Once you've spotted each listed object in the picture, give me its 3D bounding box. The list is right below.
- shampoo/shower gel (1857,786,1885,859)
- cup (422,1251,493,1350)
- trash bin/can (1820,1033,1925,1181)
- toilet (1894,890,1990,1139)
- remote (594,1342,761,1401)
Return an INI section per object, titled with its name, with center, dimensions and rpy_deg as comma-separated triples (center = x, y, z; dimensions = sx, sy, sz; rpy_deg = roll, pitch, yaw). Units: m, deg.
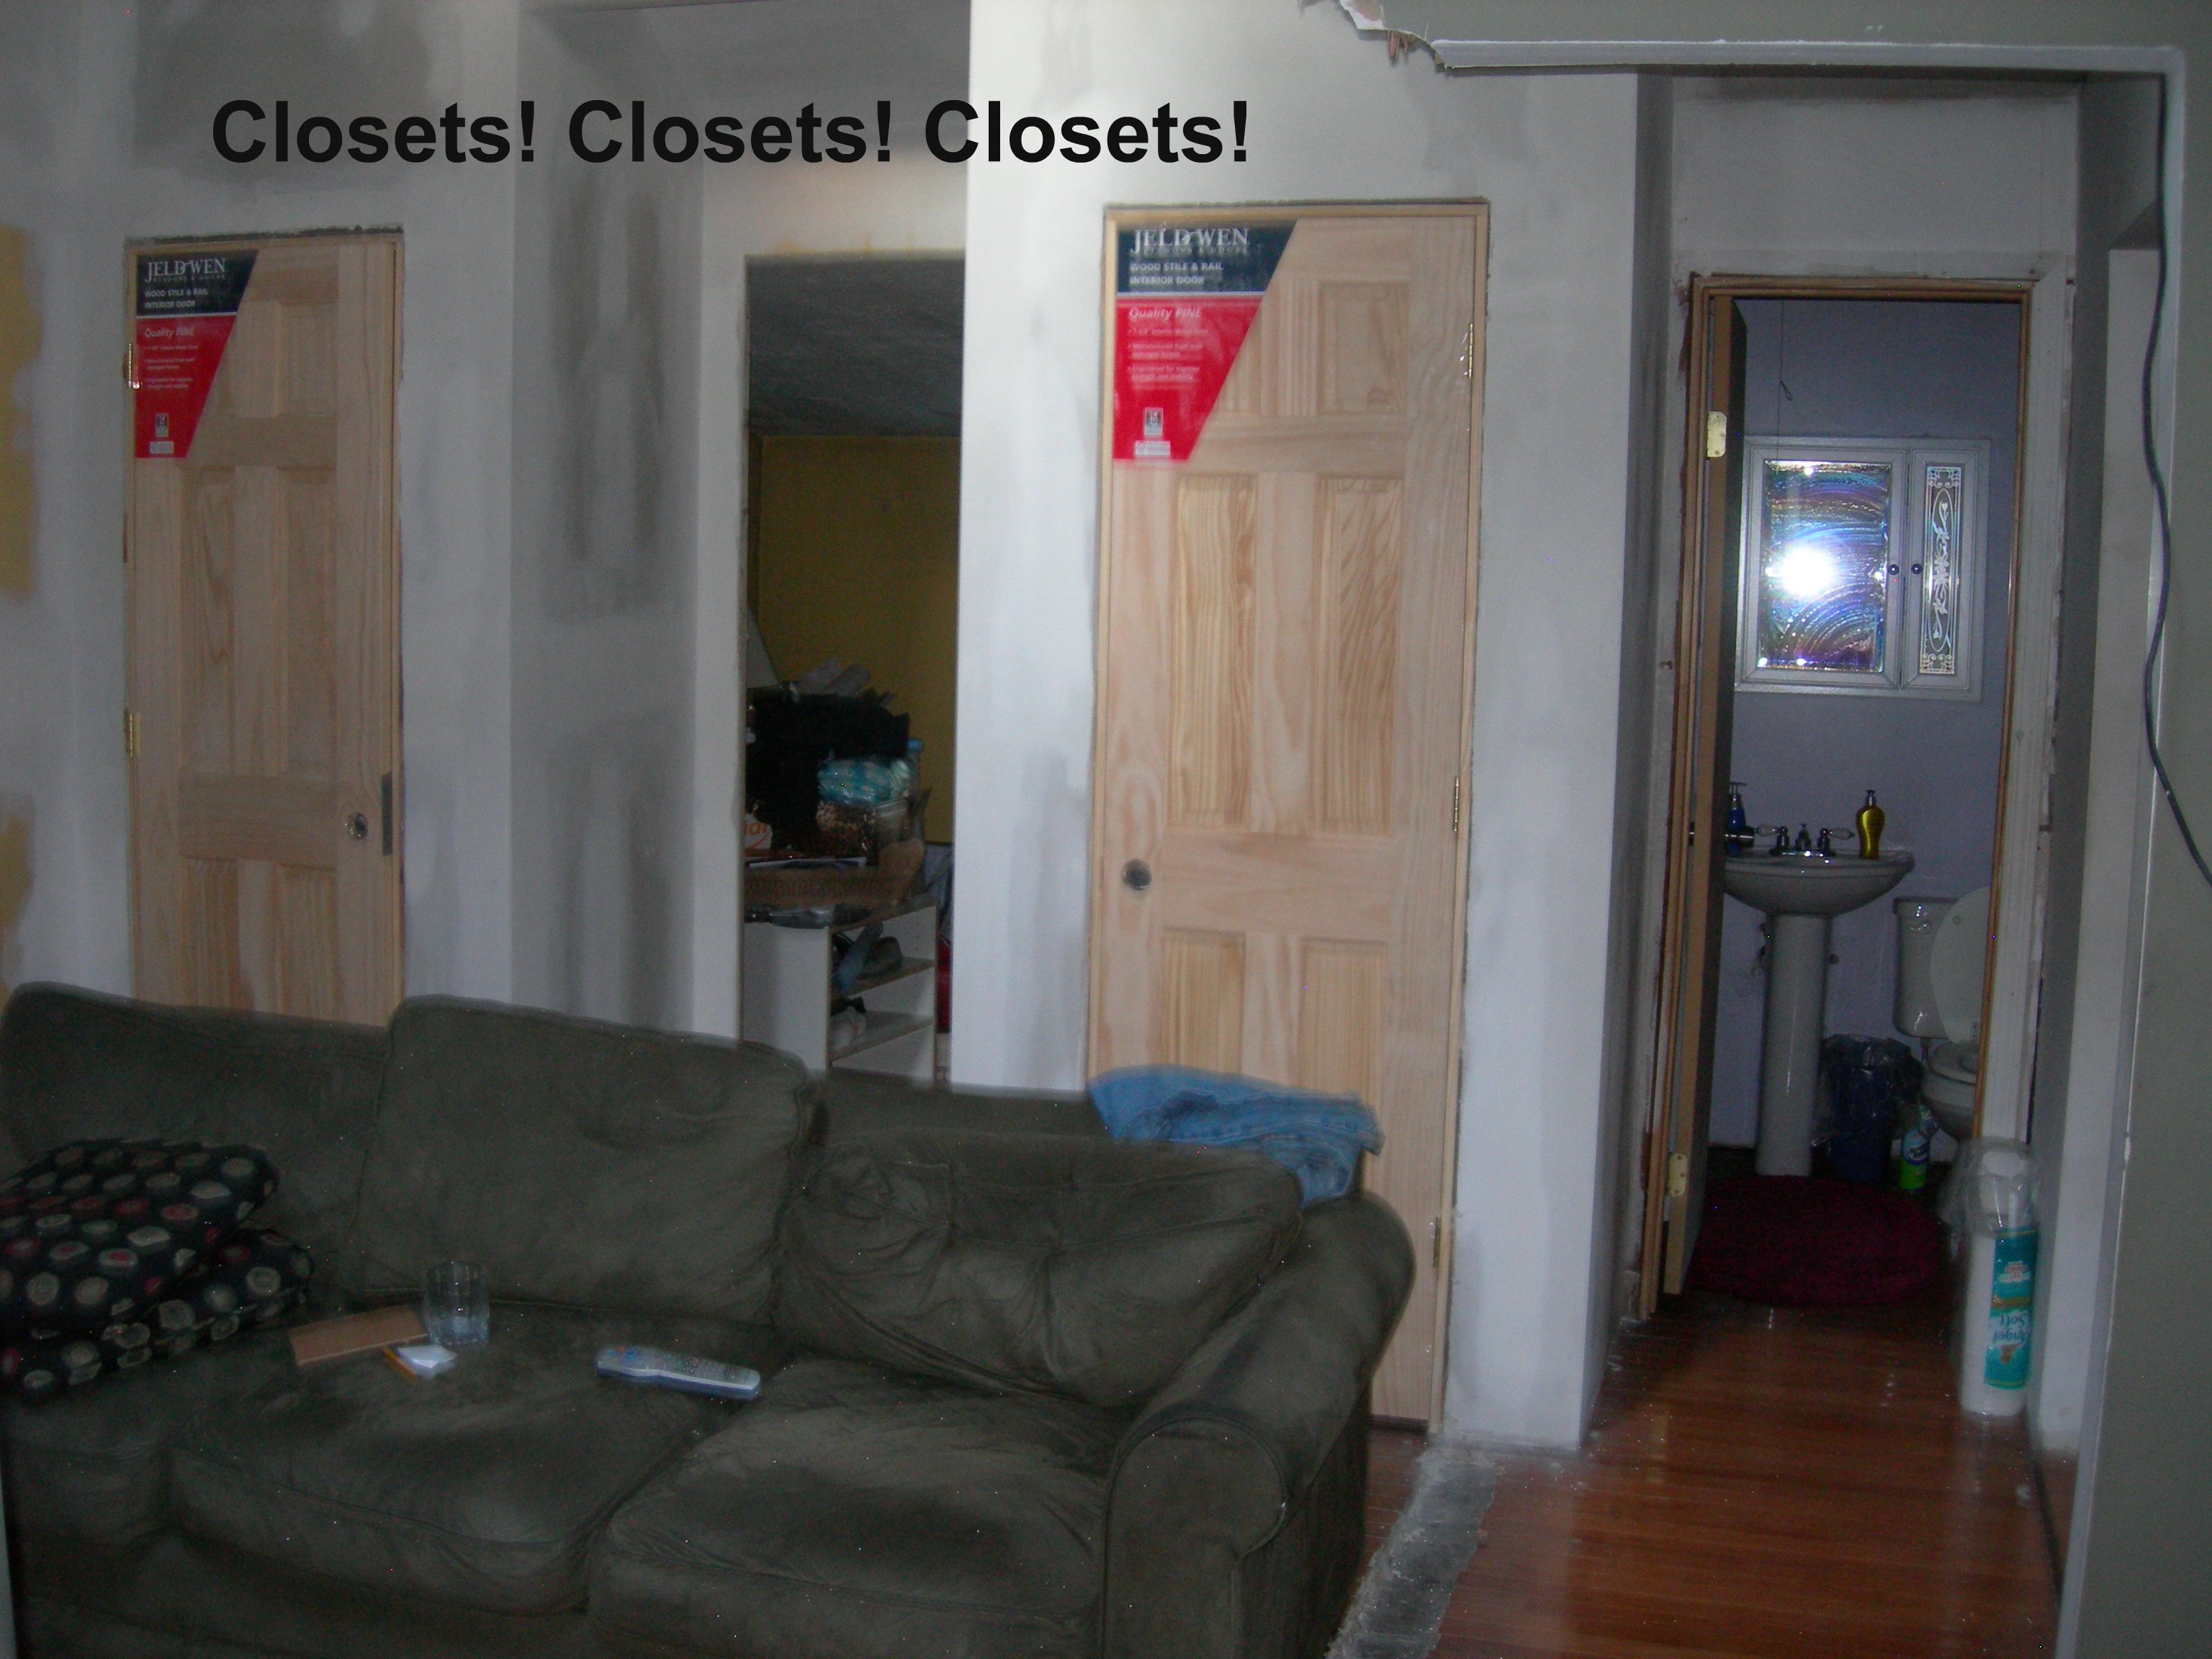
[shampoo/shower gel]
center = 2.318, -0.010, 5.506
dimensions = 0.086, 0.171, 0.398
rpy_deg = 9, 14, 23
[cup]
center = -1.132, 0.837, 3.174
dimensions = 0.101, 0.145, 0.137
rpy_deg = 1, -2, -16
[trash bin/can]
center = 2.296, 0.855, 5.478
dimensions = 0.306, 0.556, 0.374
rpy_deg = 2, -5, 7
[toilet]
center = 2.403, 0.508, 5.264
dimensions = 0.232, 0.647, 0.891
rpy_deg = 8, 13, 19
[remote]
center = -0.716, 0.916, 3.093
dimensions = 0.300, 0.044, 0.104
rpy_deg = 7, 2, 8
